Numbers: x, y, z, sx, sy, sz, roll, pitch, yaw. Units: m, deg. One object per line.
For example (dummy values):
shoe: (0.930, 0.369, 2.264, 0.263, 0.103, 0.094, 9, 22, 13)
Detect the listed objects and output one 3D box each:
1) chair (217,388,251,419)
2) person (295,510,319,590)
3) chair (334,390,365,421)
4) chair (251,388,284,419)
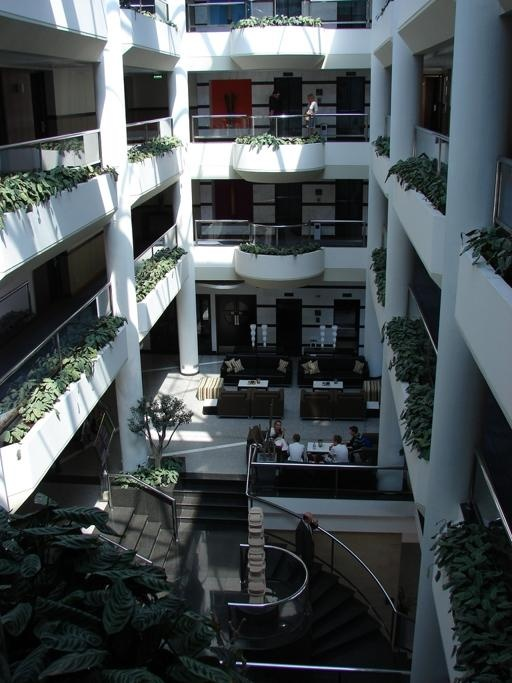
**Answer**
chair: (-0.734, 2.093, 16.444, 0.784, 0.926, 0.868, 2, -64, 3)
person: (1.047, 4.316, 10.538, 0.414, 0.970, 1.002, 3, -36, 7)
chair: (3.079, 2.162, 16.260, 1.001, 0.697, 0.695, 1, -36, 11)
chair: (0.353, 2.214, 16.178, 0.831, 0.966, 0.892, 2, -59, 6)
